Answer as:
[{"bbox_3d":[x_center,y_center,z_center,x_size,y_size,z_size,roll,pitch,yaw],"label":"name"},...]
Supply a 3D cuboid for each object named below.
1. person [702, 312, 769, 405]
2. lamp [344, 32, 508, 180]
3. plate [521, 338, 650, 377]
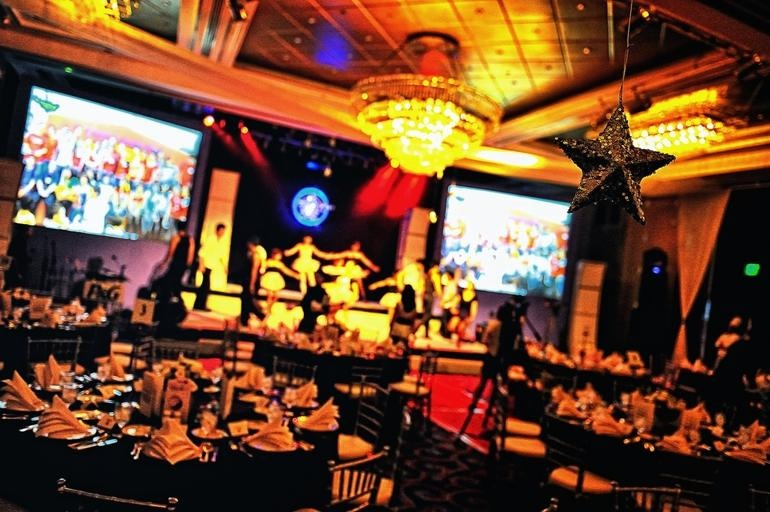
[{"bbox_3d":[4.240,1.294,7.239,0.310,0.916,0.625,3,23,4],"label":"person"},{"bbox_3d":[0.469,-1.668,6.824,1.531,1.098,1.431,2,5,4],"label":"lamp"},{"bbox_3d":[3.055,1.486,8.589,1.122,0.195,0.679,0,-17,40],"label":"plate"}]
